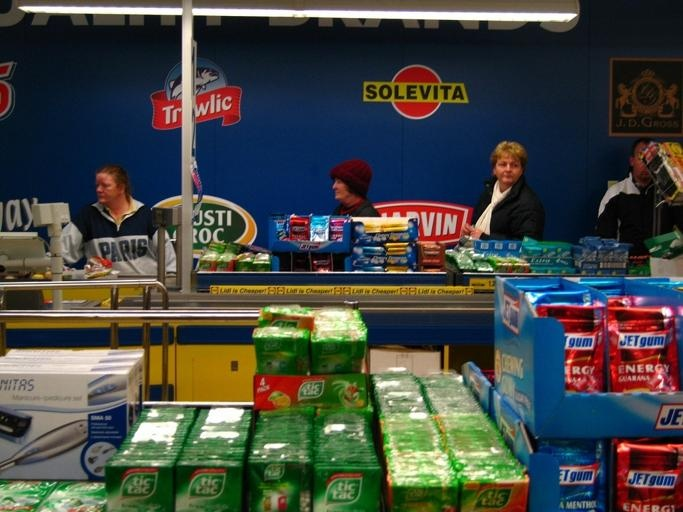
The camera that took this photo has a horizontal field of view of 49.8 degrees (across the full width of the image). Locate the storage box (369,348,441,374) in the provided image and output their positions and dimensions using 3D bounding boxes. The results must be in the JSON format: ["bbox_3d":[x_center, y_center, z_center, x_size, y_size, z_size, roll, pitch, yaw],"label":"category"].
[{"bbox_3d":[0.386,0.626,4.406,0.438,0.153,0.148,-1,7,-2],"label":"storage box"}]

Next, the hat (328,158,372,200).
[{"bbox_3d":[0.092,-0.608,5.856,0.329,0.268,0.264,7,6,-11],"label":"hat"}]

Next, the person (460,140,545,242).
[{"bbox_3d":[1.307,-0.518,5.777,0.538,0.747,0.986,1,7,10],"label":"person"}]

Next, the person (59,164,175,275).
[{"bbox_3d":[-1.969,-0.310,6.347,1.080,0.965,0.611,1,6,5],"label":"person"}]
